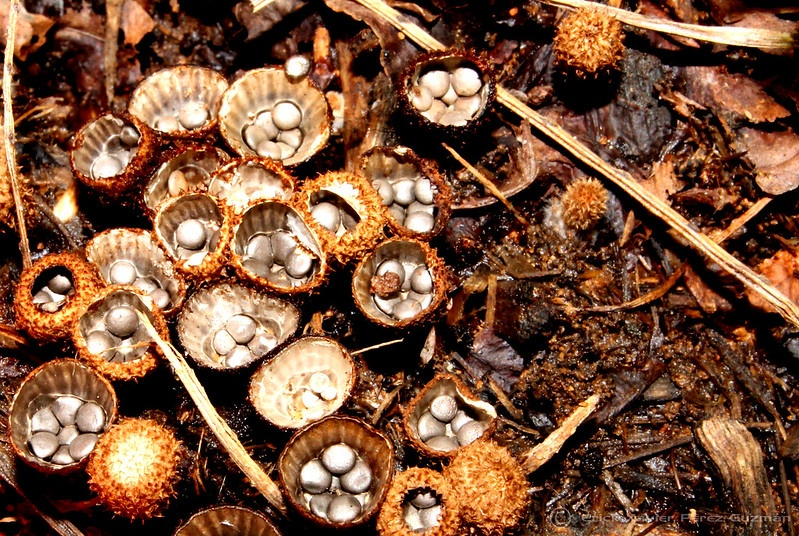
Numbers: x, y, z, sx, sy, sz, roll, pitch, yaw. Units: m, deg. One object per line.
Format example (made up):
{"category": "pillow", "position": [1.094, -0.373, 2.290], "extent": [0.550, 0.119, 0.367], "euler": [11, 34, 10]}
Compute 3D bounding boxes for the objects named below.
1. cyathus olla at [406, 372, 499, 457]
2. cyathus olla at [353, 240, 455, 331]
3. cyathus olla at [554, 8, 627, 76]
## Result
{"category": "cyathus olla", "position": [0.293, 0.870, 5.202], "extent": [0.457, 0.266, 0.510], "euler": [-53, 39, -6]}
{"category": "cyathus olla", "position": [-0.010, 0.101, 5.265], "extent": [0.518, 0.332, 0.552], "euler": [45, 73, -9]}
{"category": "cyathus olla", "position": [1.151, -1.365, 5.227], "extent": [0.410, 0.295, 0.432], "euler": [9, 97, 10]}
